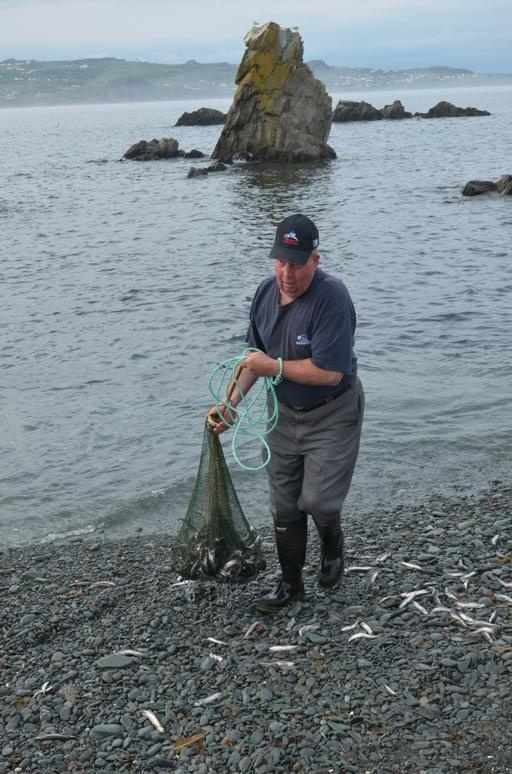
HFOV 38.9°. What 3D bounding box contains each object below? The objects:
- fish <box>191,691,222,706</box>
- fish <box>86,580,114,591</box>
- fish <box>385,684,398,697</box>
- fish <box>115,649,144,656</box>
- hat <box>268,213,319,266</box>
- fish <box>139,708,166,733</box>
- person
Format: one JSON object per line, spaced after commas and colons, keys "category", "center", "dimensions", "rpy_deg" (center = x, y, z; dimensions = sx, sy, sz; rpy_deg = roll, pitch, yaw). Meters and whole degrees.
{"category": "fish", "center": [-0.282, 1.824, 4.243], "dimensions": [0.051, 0.047, 0.205], "rpy_deg": [4, -18, -39]}
{"category": "fish", "center": [-1.243, 1.603, 5.873], "dimensions": [0.225, 0.008, 0.146], "rpy_deg": [-4, 10, 11]}
{"category": "fish", "center": [0.772, 1.729, 4.132], "dimensions": [0.045, 0.016, 0.112], "rpy_deg": [8, 2, -11]}
{"category": "fish", "center": [-0.822, 1.730, 4.749], "dimensions": [0.175, 0.039, 0.052], "rpy_deg": [-10, -12, 28]}
{"category": "hat", "center": [0.232, -0.922, 4.409], "dimensions": [0.280, 0.207, 0.416], "rpy_deg": [14, 42, 17]}
{"category": "fish", "center": [-0.574, 1.869, 4.074], "dimensions": [0.081, 0.041, 0.239], "rpy_deg": [-10, 20, -24]}
{"category": "person", "center": [0.284, 0.225, 4.824], "dimensions": [0.907, 2.671, 0.549], "rpy_deg": [2, 14, 38]}
